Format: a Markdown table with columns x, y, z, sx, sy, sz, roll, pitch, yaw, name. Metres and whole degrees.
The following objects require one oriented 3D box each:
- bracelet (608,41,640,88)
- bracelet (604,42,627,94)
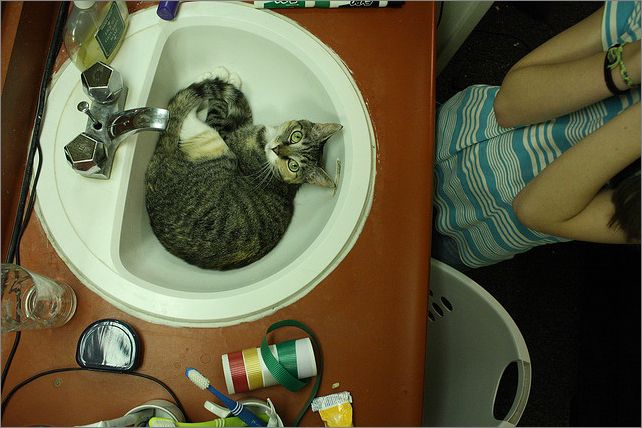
| x | y | z | sx | sy | sz | roll | pitch | yaw | name |
| --- | --- | --- | --- | --- | --- | --- | --- | --- | --- |
| 0.798 | -0.376 | 1.592 | 0.079 | 0.037 | 0.119 | -4 | 93 | -22 | bracelet |
| 0.773 | -0.383 | 1.592 | 0.031 | 0.085 | 0.110 | 2 | 98 | 19 | bracelet |
